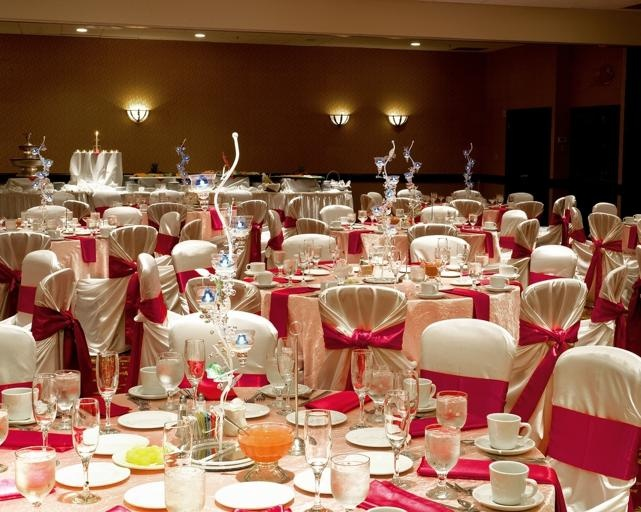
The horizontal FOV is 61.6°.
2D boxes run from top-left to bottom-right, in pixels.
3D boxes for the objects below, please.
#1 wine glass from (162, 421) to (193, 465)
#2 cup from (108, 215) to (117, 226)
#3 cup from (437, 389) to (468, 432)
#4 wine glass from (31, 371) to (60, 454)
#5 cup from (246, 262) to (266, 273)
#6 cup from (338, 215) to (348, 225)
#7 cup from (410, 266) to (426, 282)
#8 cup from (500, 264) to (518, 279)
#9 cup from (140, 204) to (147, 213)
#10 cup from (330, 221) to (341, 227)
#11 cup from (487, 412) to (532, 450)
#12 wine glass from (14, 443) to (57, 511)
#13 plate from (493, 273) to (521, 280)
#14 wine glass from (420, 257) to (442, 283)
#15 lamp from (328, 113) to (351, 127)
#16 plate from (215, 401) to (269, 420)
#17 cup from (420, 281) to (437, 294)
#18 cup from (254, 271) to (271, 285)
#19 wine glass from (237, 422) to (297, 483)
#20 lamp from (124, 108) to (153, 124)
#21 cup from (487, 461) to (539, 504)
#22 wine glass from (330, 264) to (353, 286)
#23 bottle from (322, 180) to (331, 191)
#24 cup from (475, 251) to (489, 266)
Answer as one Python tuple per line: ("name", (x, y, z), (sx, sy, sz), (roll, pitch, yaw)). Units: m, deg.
("wine glass", (-0.317, 0.414, 1.188), (0.061, 0.088, 0.115), (-2, 9, -15))
("cup", (-2.492, -0.426, 6.455), (0.096, 0.123, 0.106), (0, -3, 0))
("cup", (0.369, 0.428, 1.553), (0.102, 0.147, 0.115), (1, -3, 1))
("wine glass", (-0.772, 0.434, 1.503), (0.059, 0.234, 0.143), (-5, 10, -30))
("cup", (-0.562, 0.091, 4.613), (0.124, 0.093, 0.100), (-5, 10, -6))
("cup", (0.311, -0.505, 7.457), (0.113, 0.098, 0.125), (1, 0, 6))
("cup", (0.707, 0.129, 3.922), (0.102, 0.098, 0.084), (-2, 1, 28))
("cup", (1.481, 0.124, 4.199), (0.130, 0.114, 0.110), (2, -6, -2))
("cup", (-2.693, -0.734, 8.172), (0.132, 0.118, 0.146), (3, 3, 8))
("cup", (0.205, -0.449, 7.376), (0.106, 0.083, 0.155), (0, -6, 0))
("cup", (0.586, 0.527, 1.674), (0.117, 0.101, 0.103), (1, -1, -2))
("wine glass", (-0.596, 0.453, 1.114), (0.069, 0.123, 0.109), (-7, 12, -41))
("plate", (1.459, 0.148, 4.131), (0.117, 0.032, 0.121), (2, 1, -30))
("wine glass", (0.827, 0.092, 4.059), (0.172, 0.220, 0.177), (-5, 5, -40))
("lamp", (0.508, -3.651, 14.406), (0.346, 0.299, 0.398), (0, 10, 21))
("plate", (-0.262, 0.508, 1.774), (0.106, 0.014, 0.117), (4, 9, 9))
("cup", (0.734, 0.206, 3.629), (0.107, 0.077, 0.120), (7, 11, 33))
("cup", (-0.430, 0.155, 3.914), (0.099, 0.082, 0.083), (-3, 7, -2))
("wine glass", (-0.145, 0.525, 1.496), (0.124, 0.124, 0.145), (1, 3, 3))
("lamp", (-4.522, -3.485, 13.295), (0.566, 0.388, 0.185), (-3, 9, -22))
("cup", (0.476, 0.546, 1.343), (0.113, 0.088, 0.080), (-2, 2, -16))
("wine glass", (0.153, 0.120, 3.869), (0.125, 0.238, 0.135), (2, 5, 25))
("bottle", (0.116, -1.439, 10.880), (0.172, 0.288, 0.189), (1, 14, 0))
("cup", (1.230, 0.010, 4.085), (0.100, 0.133, 0.105), (-1, 4, 0))
